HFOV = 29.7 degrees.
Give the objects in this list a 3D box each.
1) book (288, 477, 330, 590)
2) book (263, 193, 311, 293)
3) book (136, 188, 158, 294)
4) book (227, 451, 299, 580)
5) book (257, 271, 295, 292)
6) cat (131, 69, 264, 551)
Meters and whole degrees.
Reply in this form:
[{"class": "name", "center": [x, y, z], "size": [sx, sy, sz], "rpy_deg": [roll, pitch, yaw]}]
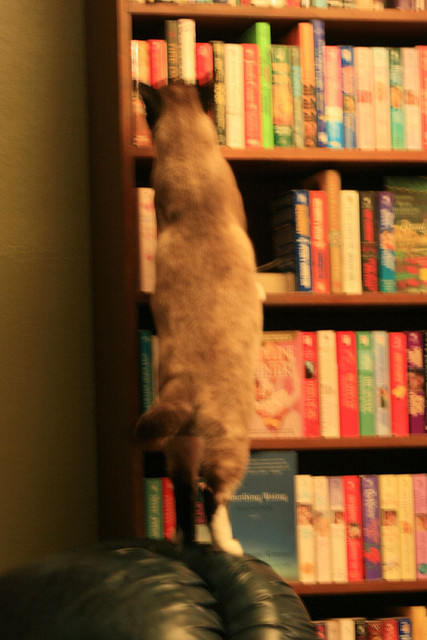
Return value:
[{"class": "book", "center": [0.183, 0.423, 1.563], "size": [0.068, 0.198, 0.203], "rpy_deg": [-5, 86, -2]}, {"class": "book", "center": [0.149, -0.150, 1.587], "size": [0.072, 0.198, 0.181], "rpy_deg": [-2, 93, -4]}, {"class": "book", "center": [-0.109, -0.150, 1.491], "size": [0.046, 0.053, 0.186], "rpy_deg": [-1, 94, 9]}, {"class": "book", "center": [0.104, 0.367, 1.543], "size": [0.215, 0.050, 0.214], "rpy_deg": [1, 79, -26]}, {"class": "book", "center": [0.125, -0.077, 1.569], "size": [0.069, 0.048, 0.037], "rpy_deg": [-1, 98, -4]}, {"class": "cat", "center": [-0.019, -0.030, 1.556], "size": [0.213, 0.472, 0.902], "rpy_deg": [-3, 83, 9]}]
